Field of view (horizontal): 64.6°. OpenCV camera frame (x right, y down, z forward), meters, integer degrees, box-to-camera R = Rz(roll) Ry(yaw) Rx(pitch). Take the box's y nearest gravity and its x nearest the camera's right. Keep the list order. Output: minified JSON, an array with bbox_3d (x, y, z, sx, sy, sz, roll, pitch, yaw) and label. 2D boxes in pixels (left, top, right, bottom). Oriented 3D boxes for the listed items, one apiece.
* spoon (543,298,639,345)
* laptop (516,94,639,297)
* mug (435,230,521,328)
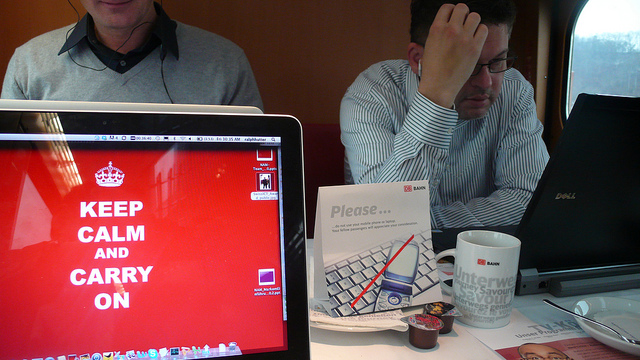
[{"bbox_3d":[0.924,0.476,1.700,0.298,0.051,0.042,24,20,39],"label":"spoon"},{"bbox_3d":[0.945,0.059,1.779,0.502,0.704,0.150,-7,18,-15],"label":"laptop"},{"bbox_3d":[0.541,0.335,1.743,0.274,0.292,0.153,0,17,5],"label":"mug"}]
